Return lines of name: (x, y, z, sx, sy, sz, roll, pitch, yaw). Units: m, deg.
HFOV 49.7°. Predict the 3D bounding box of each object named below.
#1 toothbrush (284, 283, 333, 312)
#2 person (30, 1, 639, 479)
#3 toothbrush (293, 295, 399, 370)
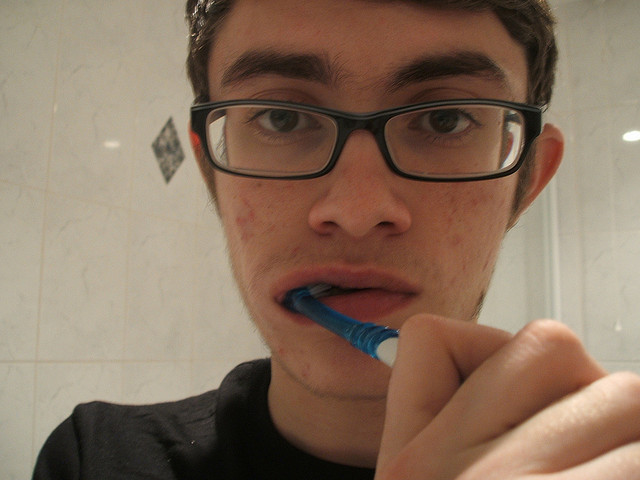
toothbrush: (-0.014, 0.092, 1.104, 0.120, 0.031, 0.036, -1, 83, 44)
person: (0.053, 0.012, 1.152, 0.862, 0.442, 0.777, 0, 67, 0)
toothbrush: (0.031, 0.122, 0.988, 0.219, 0.032, 0.046, 24, 122, 52)
